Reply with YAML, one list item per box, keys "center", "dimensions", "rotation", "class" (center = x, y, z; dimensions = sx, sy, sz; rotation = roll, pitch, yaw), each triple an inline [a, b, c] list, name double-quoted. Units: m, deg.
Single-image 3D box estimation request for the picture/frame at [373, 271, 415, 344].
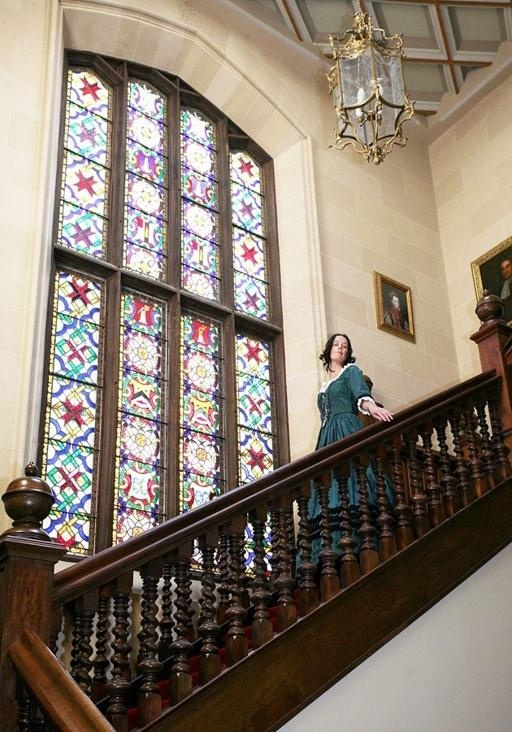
- center: [1.323, -0.545, 6.742]
  dimensions: [0.642, 0.644, 0.068]
  rotation: [22, -37, -35]
  class: "picture/frame"
